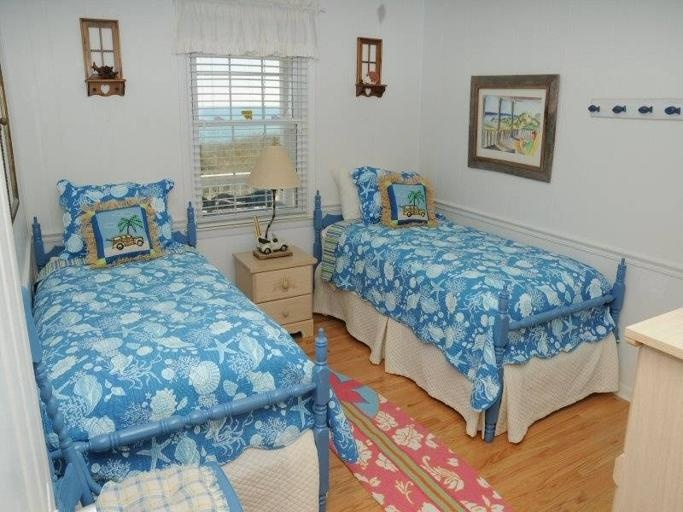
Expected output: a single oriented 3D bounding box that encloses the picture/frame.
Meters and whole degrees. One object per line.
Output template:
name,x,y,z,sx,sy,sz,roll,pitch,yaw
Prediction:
picture/frame,1.403,-1.043,4.019,0.064,0.876,0.814,-8,19,-32
